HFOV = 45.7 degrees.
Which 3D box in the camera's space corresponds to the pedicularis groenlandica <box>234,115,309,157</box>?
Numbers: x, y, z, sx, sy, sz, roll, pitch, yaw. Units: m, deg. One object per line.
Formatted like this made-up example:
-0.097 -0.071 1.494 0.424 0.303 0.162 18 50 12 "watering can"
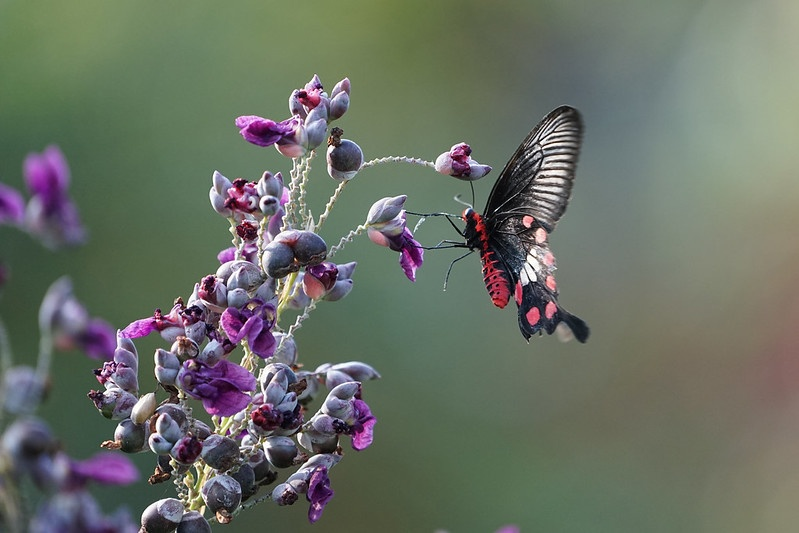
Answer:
-0.292 -0.306 2.194 0.201 0.082 0.184 4 1 16 "pedicularis groenlandica"
